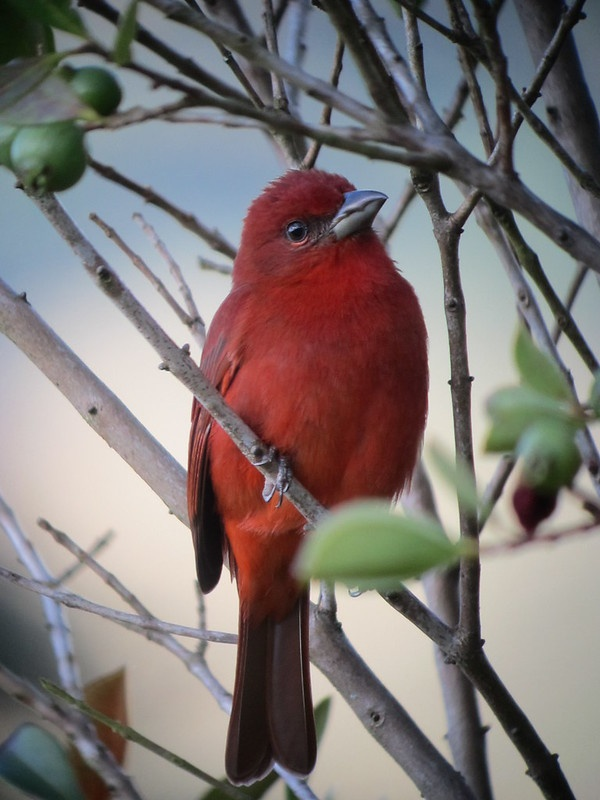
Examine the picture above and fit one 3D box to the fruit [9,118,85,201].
[{"bbox_3d":[-0.309,-0.329,1.230,0.107,0.115,0.095,0,-72,-4],"label":"fruit"}]
